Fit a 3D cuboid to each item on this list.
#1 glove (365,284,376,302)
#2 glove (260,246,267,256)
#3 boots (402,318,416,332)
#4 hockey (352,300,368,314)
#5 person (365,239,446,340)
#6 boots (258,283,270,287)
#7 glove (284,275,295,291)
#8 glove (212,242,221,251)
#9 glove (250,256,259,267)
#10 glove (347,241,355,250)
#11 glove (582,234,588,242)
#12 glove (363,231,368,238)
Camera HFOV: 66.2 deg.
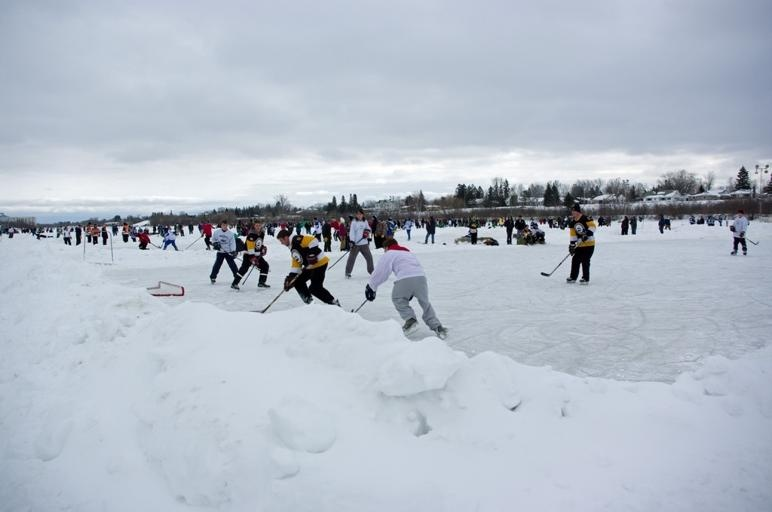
[{"bbox_3d":[-0.264,0.578,9.353,0.194,0.230,0.258,-4,-1,-2],"label":"glove"},{"bbox_3d":[-2.839,-0.132,13.555,0.184,0.249,0.103,1,7,-39],"label":"glove"},{"bbox_3d":[0.362,1.054,9.162,0.223,0.213,0.195,-1,10,-2],"label":"boots"},{"bbox_3d":[-0.470,0.888,10.597,0.182,0.319,0.170,34,0,-16],"label":"hockey"},{"bbox_3d":[0.294,0.477,9.236,0.927,1.452,1.274,-9,13,-39],"label":"person"},{"bbox_3d":[-2.845,0.663,13.660,0.262,0.133,0.102,1,19,-11],"label":"boots"},{"bbox_3d":[-1.733,0.468,10.466,0.105,0.272,0.190,16,-19,-17],"label":"glove"},{"bbox_3d":[-4.050,-0.247,14.110,0.137,0.205,0.065,-4,10,-2],"label":"glove"},{"bbox_3d":[-3.011,0.109,13.507,0.156,0.197,0.074,1,15,2],"label":"glove"},{"bbox_3d":[-0.906,-0.301,14.885,0.147,0.237,0.517,-3,10,-13],"label":"glove"},{"bbox_3d":[4.332,-0.396,12.883,0.125,0.143,0.062,3,11,19],"label":"glove"},{"bbox_3d":[-0.514,-0.546,14.685,0.109,0.161,0.158,0,-10,-2],"label":"glove"}]
